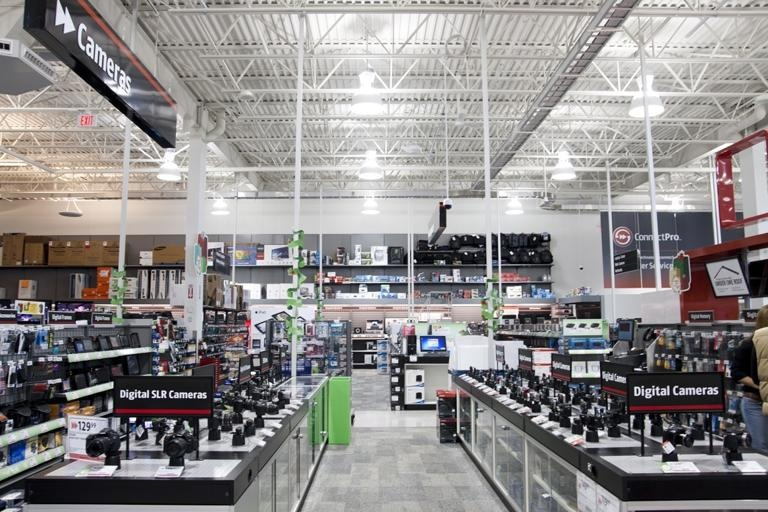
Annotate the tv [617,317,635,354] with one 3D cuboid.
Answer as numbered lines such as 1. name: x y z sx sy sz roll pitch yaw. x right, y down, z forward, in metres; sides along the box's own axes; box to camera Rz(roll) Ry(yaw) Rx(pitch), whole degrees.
1. tv: 3.788 1.265 8.851 0.191 0.605 0.383 8 -16 -3

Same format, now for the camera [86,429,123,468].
1. camera: -2.190 1.501 4.419 0.228 0.262 0.289 -3 -7 3

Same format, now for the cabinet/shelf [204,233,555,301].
1. cabinet/shelf: 1.145 0.450 20.131 10.017 2.317 0.775 -2 -5 -1

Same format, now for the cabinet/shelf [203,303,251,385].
1. cabinet/shelf: -4.162 1.997 13.811 1.160 2.267 1.528 1 -4 -1

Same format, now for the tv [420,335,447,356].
1. tv: 1.026 1.849 11.817 0.678 0.406 0.332 1 -8 -2

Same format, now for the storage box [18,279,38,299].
1. storage box: -11.804 1.091 18.850 0.522 0.665 0.565 -7 -7 44

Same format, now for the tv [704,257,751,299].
1. tv: 4.490 0.278 7.412 0.045 0.511 0.537 -7 -7 -20
